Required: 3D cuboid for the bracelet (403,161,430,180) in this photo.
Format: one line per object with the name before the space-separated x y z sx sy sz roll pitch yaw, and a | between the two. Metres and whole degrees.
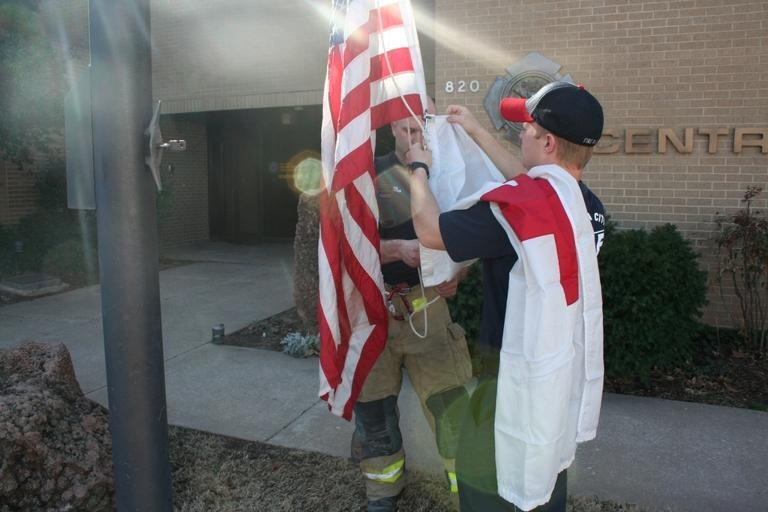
bracelet | 0.207 -0.557 3.850 0.122 0.070 0.130 23 32 10
